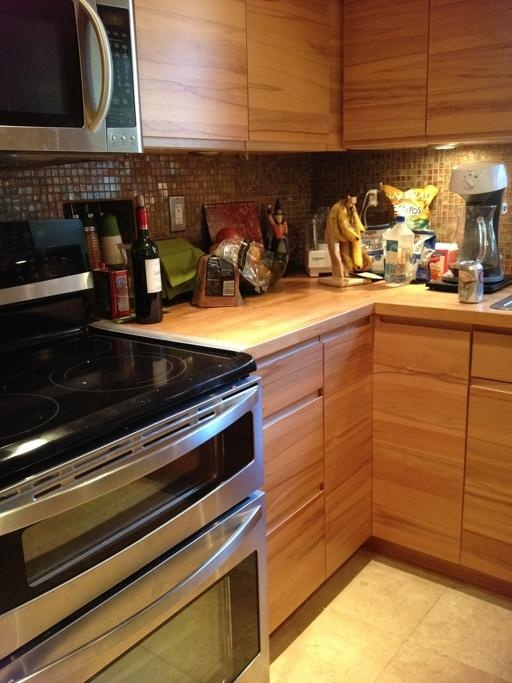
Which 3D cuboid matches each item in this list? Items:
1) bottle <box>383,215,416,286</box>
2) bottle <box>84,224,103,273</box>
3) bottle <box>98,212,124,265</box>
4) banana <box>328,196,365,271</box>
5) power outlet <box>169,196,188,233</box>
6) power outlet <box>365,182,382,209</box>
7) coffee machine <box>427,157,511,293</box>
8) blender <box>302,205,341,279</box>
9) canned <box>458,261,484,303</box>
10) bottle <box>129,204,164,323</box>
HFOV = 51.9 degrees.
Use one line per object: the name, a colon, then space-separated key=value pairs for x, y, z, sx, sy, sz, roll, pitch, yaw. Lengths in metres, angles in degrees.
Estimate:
bottle: x=0.509 y=-0.324 z=1.879 sx=0.107 sy=0.237 sz=0.149 roll=2 pitch=11 yaw=16
bottle: x=-0.451 y=-0.260 z=1.454 sx=0.036 sy=0.119 sz=0.078 roll=-4 pitch=11 yaw=-11
bottle: x=-0.390 y=-0.277 z=1.424 sx=0.059 sy=0.141 sz=0.177 roll=-5 pitch=11 yaw=-18
banana: x=0.317 y=-0.356 z=1.819 sx=0.141 sy=0.268 sz=0.127 roll=-4 pitch=11 yaw=-11
power outlet: x=-0.265 y=-0.423 z=1.753 sx=0.017 sy=0.118 sz=0.076 roll=4 pitch=12 yaw=29
power outlet: x=0.478 y=-0.589 z=2.150 sx=0.076 sy=0.136 sz=0.075 roll=6 pitch=26 yaw=13
coffee machine: x=0.699 y=-0.380 z=1.725 sx=0.219 sy=0.423 sz=0.490 roll=7 pitch=13 yaw=39
blender: x=0.260 y=-0.411 z=2.118 sx=0.207 sy=0.288 sz=0.225 roll=2 pitch=11 yaw=25
canned: x=0.621 y=-0.171 z=1.524 sx=0.065 sy=0.119 sz=0.066 roll=2 pitch=11 yaw=20
bottle: x=-0.276 y=-0.194 z=1.318 sx=0.069 sy=0.297 sz=0.112 roll=-4 pitch=11 yaw=-12
